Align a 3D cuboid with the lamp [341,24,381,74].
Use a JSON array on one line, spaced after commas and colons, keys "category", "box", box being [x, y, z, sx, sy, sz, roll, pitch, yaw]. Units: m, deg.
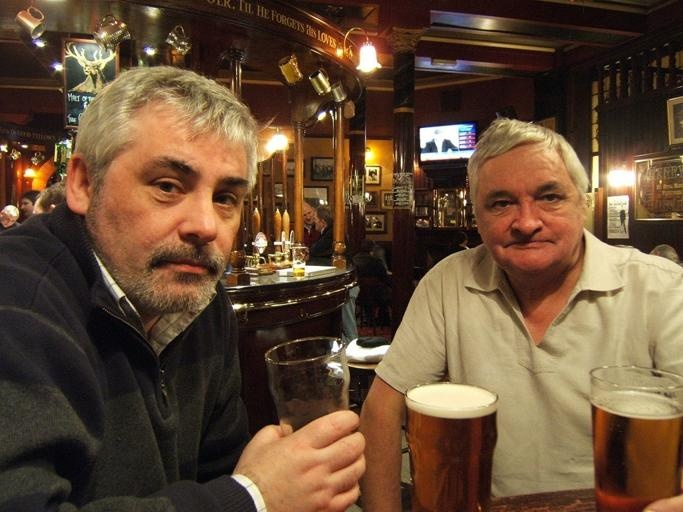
[{"category": "lamp", "box": [0.213, -2.087, 5.599, 0.272, 0.497, 0.238, -5, 2, -8]}]
